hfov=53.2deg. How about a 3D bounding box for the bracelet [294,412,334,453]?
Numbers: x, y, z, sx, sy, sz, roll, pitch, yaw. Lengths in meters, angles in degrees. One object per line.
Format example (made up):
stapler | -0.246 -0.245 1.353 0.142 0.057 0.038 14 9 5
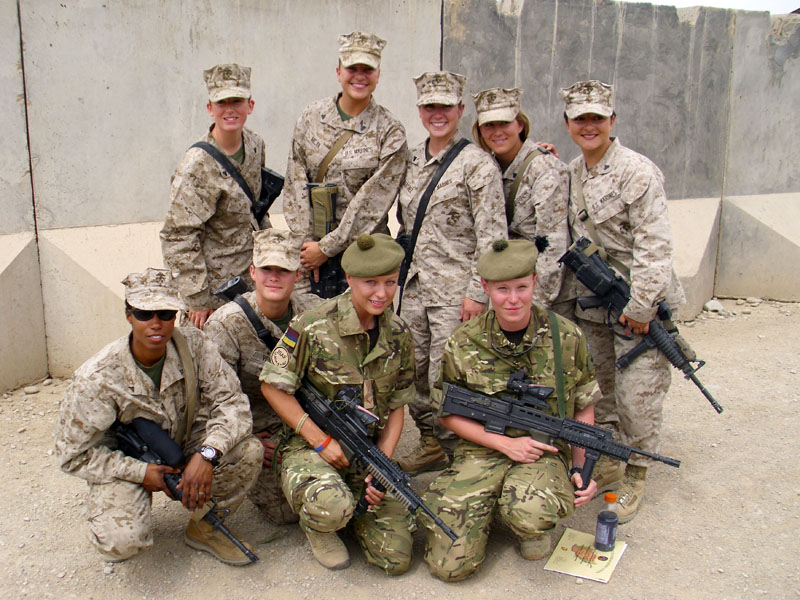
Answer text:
bracelet | -0.553 0.881 5.342 0.267 0.198 0.097 44 13 7

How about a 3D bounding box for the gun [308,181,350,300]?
gun | -0.558 -0.454 6.216 0.232 0.898 0.421 -5 0 -4

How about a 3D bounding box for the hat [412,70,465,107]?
hat | 0.294 -1.554 5.889 0.365 0.246 0.256 -1 21 3

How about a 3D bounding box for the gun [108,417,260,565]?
gun | -1.402 1.209 5.123 1.084 0.335 0.184 46 25 11

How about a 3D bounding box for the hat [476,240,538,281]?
hat | 0.701 -0.265 5.218 0.397 0.252 0.301 -1 21 2

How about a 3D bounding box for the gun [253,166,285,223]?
gun | -1.069 -0.828 6.324 0.148 0.359 0.355 15 -7 40

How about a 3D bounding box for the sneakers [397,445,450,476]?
sneakers | 0.188 1.223 6.051 0.242 0.241 0.080 -16 41 -8

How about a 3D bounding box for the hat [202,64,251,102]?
hat | -1.277 -1.615 5.938 0.333 0.264 0.241 -6 21 -12

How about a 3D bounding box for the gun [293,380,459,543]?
gun | -0.189 1.078 5.267 0.154 0.523 1.348 -16 53 -45

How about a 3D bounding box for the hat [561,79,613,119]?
hat | 1.349 -1.466 5.771 0.383 0.224 0.493 -3 20 4

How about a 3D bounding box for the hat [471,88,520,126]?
hat | 0.739 -1.500 6.082 0.375 0.245 0.497 -10 19 10

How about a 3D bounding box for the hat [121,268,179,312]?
hat | -1.566 -0.070 5.125 0.409 0.269 0.544 1 2 -32

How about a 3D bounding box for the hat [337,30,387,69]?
hat | -0.290 -1.891 6.031 0.359 0.223 0.484 1 18 -7

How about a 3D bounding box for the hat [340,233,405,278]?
hat | -0.185 -0.291 5.229 0.395 0.276 0.247 -4 21 -5

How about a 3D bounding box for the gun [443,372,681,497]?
gun | 1.045 0.862 5.199 1.578 0.677 0.443 13 27 21

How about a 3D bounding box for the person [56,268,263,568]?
person | -1.540 0.805 5.132 1.192 1.907 1.074 -13 29 -33

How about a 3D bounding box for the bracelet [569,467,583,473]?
bracelet | 1.153 1.120 5.270 0.038 0.018 0.042 -8 -7 -43
